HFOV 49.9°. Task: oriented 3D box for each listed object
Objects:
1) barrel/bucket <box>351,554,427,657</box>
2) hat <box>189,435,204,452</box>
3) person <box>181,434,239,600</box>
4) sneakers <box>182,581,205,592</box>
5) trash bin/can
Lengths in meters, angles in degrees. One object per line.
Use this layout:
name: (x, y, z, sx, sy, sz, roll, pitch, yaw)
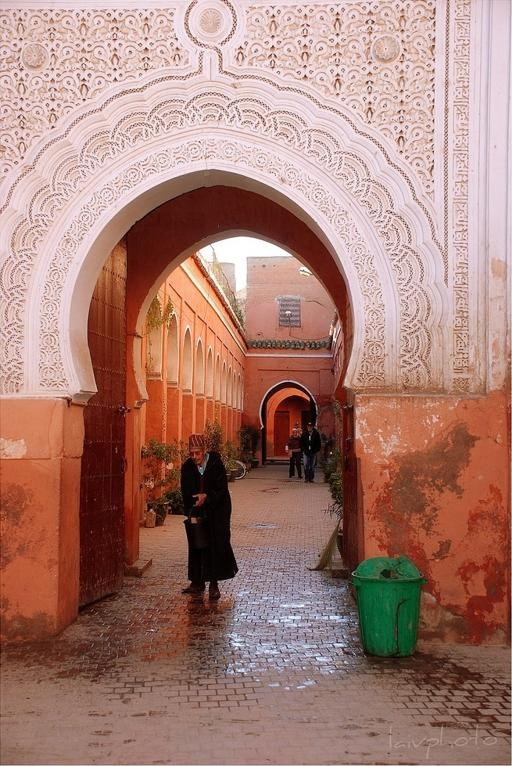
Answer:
barrel/bucket: (0.870, 1.416, 3.710, 0.567, 0.706, 0.546, -1, 2, 0)
hat: (-0.604, 0.622, 5.588, 0.119, 0.164, 0.170, -1, -17, -4)
person: (-0.462, 1.309, 5.552, 0.539, 1.580, 0.525, 4, -9, -23)
sneakers: (-0.610, 2.010, 5.458, 0.231, 0.126, 0.084, 4, -11, -6)
trash bin/can: (0.875, 1.428, 3.616, 0.452, 0.599, 0.424, -6, -8, 35)
